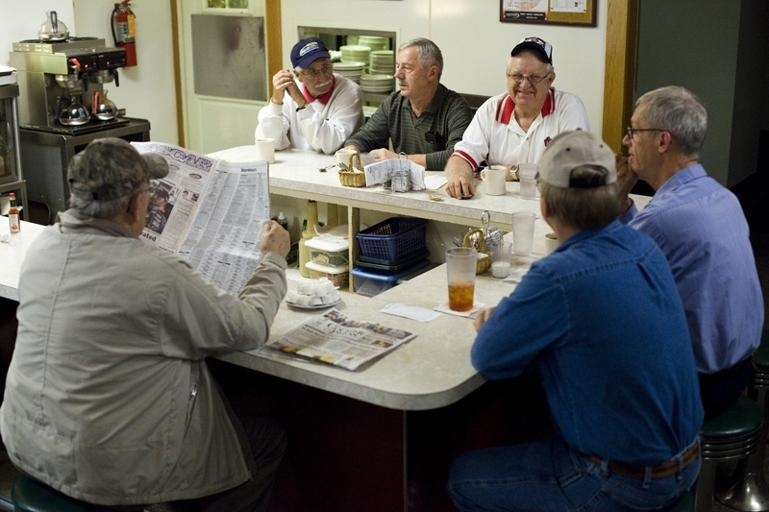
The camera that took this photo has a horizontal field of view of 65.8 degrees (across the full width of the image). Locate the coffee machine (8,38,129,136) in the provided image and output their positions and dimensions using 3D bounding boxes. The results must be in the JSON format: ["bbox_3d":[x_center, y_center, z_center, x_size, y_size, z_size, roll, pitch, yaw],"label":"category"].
[{"bbox_3d":[-2.553,-1.356,4.975,0.807,0.754,0.784,10,19,28],"label":"coffee machine"}]

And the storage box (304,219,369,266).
[{"bbox_3d":[-0.325,-0.058,3.603,0.223,0.100,0.307,17,27,33],"label":"storage box"}]

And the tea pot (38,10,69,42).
[{"bbox_3d":[-2.674,-1.860,4.904,0.228,0.261,0.308,-9,31,-23],"label":"tea pot"}]

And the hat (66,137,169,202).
[{"bbox_3d":[-0.815,-0.249,1.854,0.191,0.127,0.253,19,32,29],"label":"hat"}]

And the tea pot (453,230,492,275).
[{"bbox_3d":[0.383,-0.002,2.597,0.165,0.226,0.165,0,2,0],"label":"tea pot"}]

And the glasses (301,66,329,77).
[{"bbox_3d":[-0.505,-1.306,4.312,0.179,0.058,0.044,-3,15,-7],"label":"glasses"}]

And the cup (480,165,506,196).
[{"bbox_3d":[0.605,-0.418,3.371,0.165,0.152,0.129,-4,20,-4],"label":"cup"}]

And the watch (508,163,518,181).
[{"bbox_3d":[0.785,-0.501,3.608,0.057,0.088,0.089,11,30,18],"label":"watch"}]

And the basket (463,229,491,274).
[{"bbox_3d":[0.399,-0.008,2.545,0.160,0.220,0.160,-1,3,-1],"label":"basket"}]

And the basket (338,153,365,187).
[{"bbox_3d":[-0.186,-0.476,3.478,0.143,0.191,0.200,4,9,21],"label":"basket"}]

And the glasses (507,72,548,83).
[{"bbox_3d":[0.878,-1.076,3.663,0.232,0.056,0.073,2,16,11],"label":"glasses"}]

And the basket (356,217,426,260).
[{"bbox_3d":[0.047,-0.132,3.504,0.235,0.152,0.360,5,16,34],"label":"basket"}]

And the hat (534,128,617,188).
[{"bbox_3d":[0.564,-0.278,1.736,0.214,0.151,0.154,4,16,17],"label":"hat"}]

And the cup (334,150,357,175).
[{"bbox_3d":[-0.231,-0.545,3.561,0.114,0.109,0.150,5,15,20],"label":"cup"}]

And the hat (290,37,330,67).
[{"bbox_3d":[-0.536,-1.428,4.260,0.258,0.206,0.157,-2,15,-5],"label":"hat"}]

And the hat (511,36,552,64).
[{"bbox_3d":[0.952,-1.269,3.739,0.198,0.165,0.303,13,21,41],"label":"hat"}]
